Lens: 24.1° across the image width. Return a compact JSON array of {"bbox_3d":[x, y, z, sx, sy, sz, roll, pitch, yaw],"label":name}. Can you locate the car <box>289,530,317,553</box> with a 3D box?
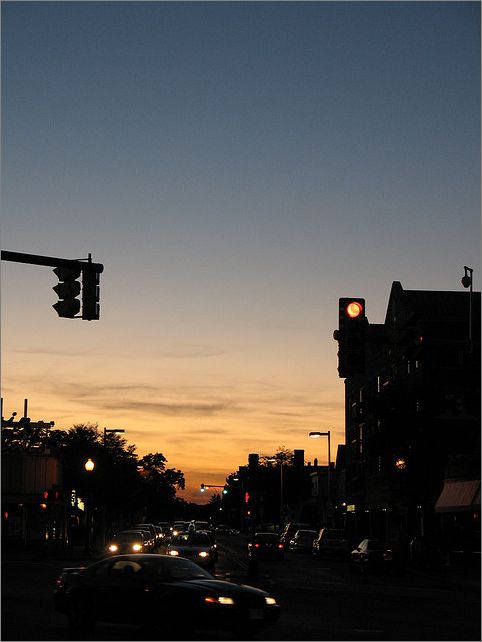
[{"bbox_3d":[3.614,12.466,63.978,0.975,0.765,2.292,0,-3,4],"label":"car"}]

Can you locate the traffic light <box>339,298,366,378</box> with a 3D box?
[{"bbox_3d":[1.811,0.229,18.116,0.474,1.229,0.389,1,-7,11],"label":"traffic light"}]

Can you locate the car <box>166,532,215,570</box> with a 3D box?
[{"bbox_3d":[-1.431,7.008,34.729,1.128,0.894,2.710,3,-16,2],"label":"car"}]

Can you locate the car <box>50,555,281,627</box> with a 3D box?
[{"bbox_3d":[-1.349,4.599,18.829,3.227,1.006,1.576,-11,-17,37],"label":"car"}]

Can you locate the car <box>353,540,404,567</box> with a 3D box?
[{"bbox_3d":[4.903,8.275,39.902,1.538,0.938,2.061,2,-8,5],"label":"car"}]

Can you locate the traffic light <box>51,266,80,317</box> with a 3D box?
[{"bbox_3d":[-2.992,-0.482,19.240,0.455,0.991,1.210,4,-7,-10],"label":"traffic light"}]

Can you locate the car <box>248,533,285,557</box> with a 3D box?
[{"bbox_3d":[1.256,9.937,49.202,1.187,0.808,2.216,1,-4,0],"label":"car"}]

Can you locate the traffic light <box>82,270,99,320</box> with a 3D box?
[{"bbox_3d":[-2.602,-0.432,19.492,0.291,0.895,0.172,1,-17,-10],"label":"traffic light"}]
